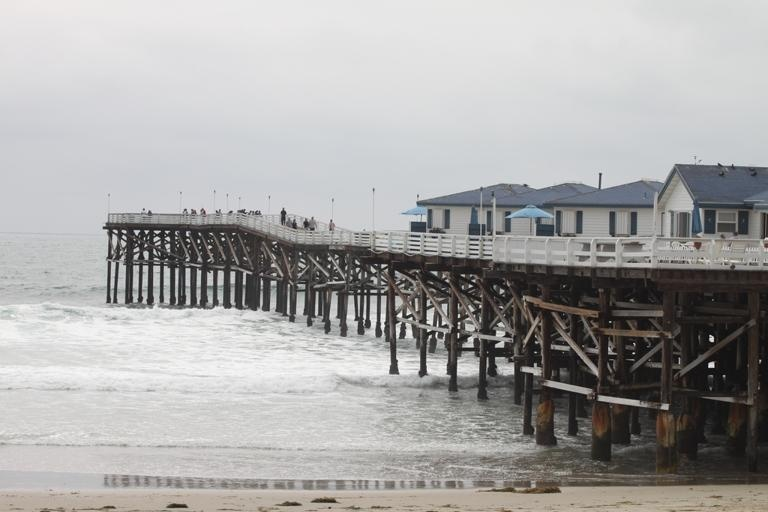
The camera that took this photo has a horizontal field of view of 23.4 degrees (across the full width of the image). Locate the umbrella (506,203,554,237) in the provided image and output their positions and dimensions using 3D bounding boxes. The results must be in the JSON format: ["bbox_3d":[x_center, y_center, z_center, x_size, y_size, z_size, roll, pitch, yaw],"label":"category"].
[{"bbox_3d":[6.651,-2.022,84.733,1.898,1.122,1.726,-1,0,-20],"label":"umbrella"}]
